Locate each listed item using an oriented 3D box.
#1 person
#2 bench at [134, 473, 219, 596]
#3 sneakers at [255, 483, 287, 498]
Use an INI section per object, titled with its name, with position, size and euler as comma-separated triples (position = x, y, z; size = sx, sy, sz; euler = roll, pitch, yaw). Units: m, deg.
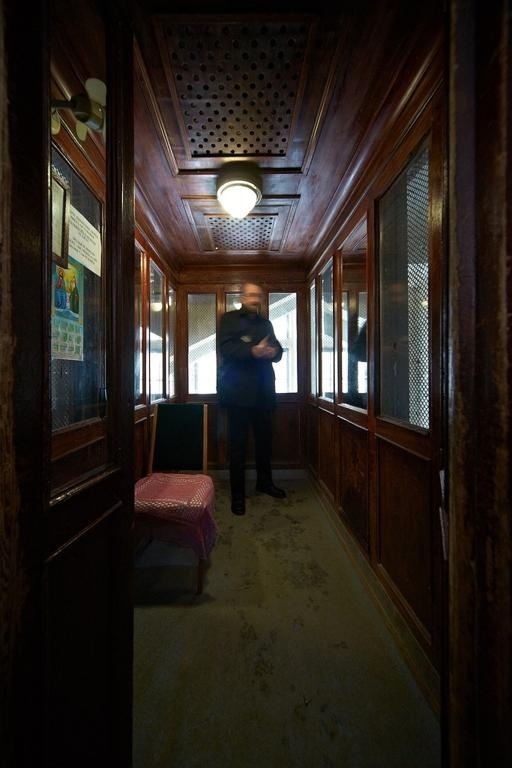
[person]
position = -0.017, 0.075, 3.203
size = 0.465, 1.477, 0.538
euler = -1, 3, -17
[bench]
position = -0.374, 0.595, 2.270
size = 0.322, 0.251, 0.707
euler = -5, 3, 0
[sneakers]
position = 0.098, 0.730, 3.414
size = 0.076, 0.134, 0.229
euler = 1, -1, -40
